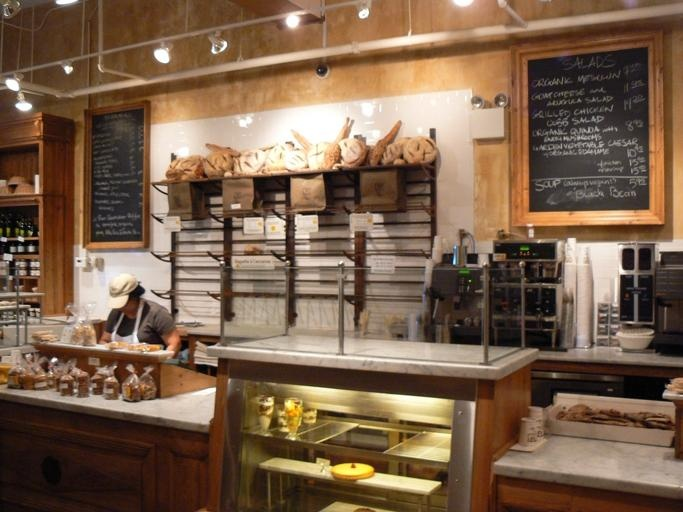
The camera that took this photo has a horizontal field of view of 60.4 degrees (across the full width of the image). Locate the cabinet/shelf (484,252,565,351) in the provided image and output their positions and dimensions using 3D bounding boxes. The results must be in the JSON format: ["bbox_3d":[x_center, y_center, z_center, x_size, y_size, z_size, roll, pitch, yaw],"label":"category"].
[{"bbox_3d":[1.544,0.308,4.870,0.554,0.713,0.426,0,5,28],"label":"cabinet/shelf"}]

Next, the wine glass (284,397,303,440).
[{"bbox_3d":[-0.271,0.878,3.166,0.125,0.189,0.115,-4,-18,12],"label":"wine glass"}]

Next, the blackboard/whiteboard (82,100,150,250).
[{"bbox_3d":[-2.864,-0.986,7.394,1.116,1.809,0.141,0,1,28],"label":"blackboard/whiteboard"}]

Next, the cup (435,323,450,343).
[{"bbox_3d":[0.506,0.389,2.987,0.083,0.106,0.085,0,-2,0],"label":"cup"}]

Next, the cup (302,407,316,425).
[{"bbox_3d":[-0.170,0.847,3.127,0.087,0.073,0.087,0,-1,0],"label":"cup"}]

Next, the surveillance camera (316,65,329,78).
[{"bbox_3d":[-0.207,-1.965,6.217,0.125,0.129,0.070,-1,1,16],"label":"surveillance camera"}]

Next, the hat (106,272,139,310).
[{"bbox_3d":[-1.769,0.288,4.720,0.221,0.278,0.170,-1,1,-7],"label":"hat"}]

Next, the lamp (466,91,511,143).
[{"bbox_3d":[1.396,-1.314,5.513,0.360,0.392,0.146,3,6,29],"label":"lamp"}]

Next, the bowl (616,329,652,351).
[{"bbox_3d":[2.405,0.665,4.784,0.220,0.095,0.206,-1,-2,0],"label":"bowl"}]
